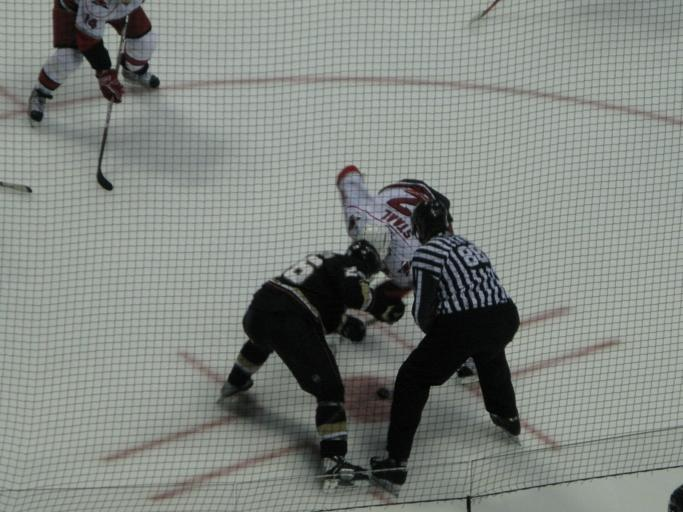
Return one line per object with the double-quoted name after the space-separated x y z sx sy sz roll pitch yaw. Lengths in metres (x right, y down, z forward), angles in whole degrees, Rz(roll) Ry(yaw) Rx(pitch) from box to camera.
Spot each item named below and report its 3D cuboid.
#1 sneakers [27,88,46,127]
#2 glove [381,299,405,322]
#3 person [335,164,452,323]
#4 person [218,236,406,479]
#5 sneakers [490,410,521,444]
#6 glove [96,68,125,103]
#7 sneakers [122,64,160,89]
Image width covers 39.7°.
-2.007 -1.009 6.288 0.122 0.223 0.348 12 2 -22 "sneakers"
0.296 0.324 5.340 0.112 0.134 0.061 3 46 -17 "glove"
0.467 -0.034 5.835 0.689 0.318 0.964 -35 51 -7 "person"
-0.131 0.613 5.109 1.080 1.061 0.761 26 18 37 "person"
0.885 0.936 5.090 0.200 0.082 0.070 41 42 11 "sneakers"
-1.484 -1.104 6.139 0.132 0.117 0.251 -21 70 -9 "glove"
-1.357 -1.218 6.523 0.277 0.148 0.110 16 76 -12 "sneakers"
